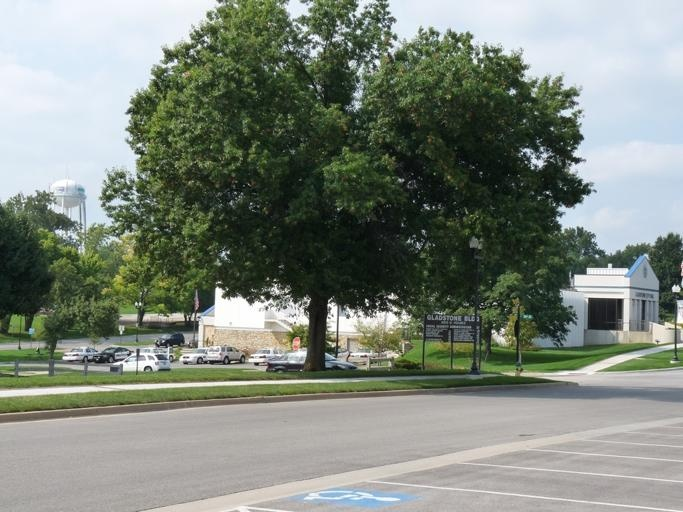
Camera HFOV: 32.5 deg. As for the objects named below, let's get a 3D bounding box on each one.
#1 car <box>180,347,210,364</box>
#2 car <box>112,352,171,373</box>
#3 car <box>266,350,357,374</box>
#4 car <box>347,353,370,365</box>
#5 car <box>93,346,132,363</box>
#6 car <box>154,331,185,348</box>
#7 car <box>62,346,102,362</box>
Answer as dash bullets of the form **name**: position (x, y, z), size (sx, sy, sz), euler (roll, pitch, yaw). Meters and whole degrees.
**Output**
- **car**: position (-11.352, 7.600, 89.513), size (1.797, 1.389, 2.742), euler (5, -11, -22)
- **car**: position (-13.099, 7.037, 74.535), size (4.158, 1.540, 1.939), euler (1, -2, 22)
- **car**: position (-2.039, 5.911, 65.705), size (3.587, 1.087, 2.013), euler (-2, -3, 7)
- **car**: position (1.365, 8.448, 97.286), size (2.047, 0.977, 3.232), euler (2, 0, 14)
- **car**: position (-17.862, 7.469, 89.851), size (1.242, 0.991, 3.097), euler (-3, -8, 25)
- **car**: position (-16.586, 7.903, 112.413), size (1.298, 1.035, 2.289), euler (-7, -13, 35)
- **car**: position (-19.958, 7.432, 89.000), size (1.472, 1.045, 3.133), euler (0, 1, -40)
